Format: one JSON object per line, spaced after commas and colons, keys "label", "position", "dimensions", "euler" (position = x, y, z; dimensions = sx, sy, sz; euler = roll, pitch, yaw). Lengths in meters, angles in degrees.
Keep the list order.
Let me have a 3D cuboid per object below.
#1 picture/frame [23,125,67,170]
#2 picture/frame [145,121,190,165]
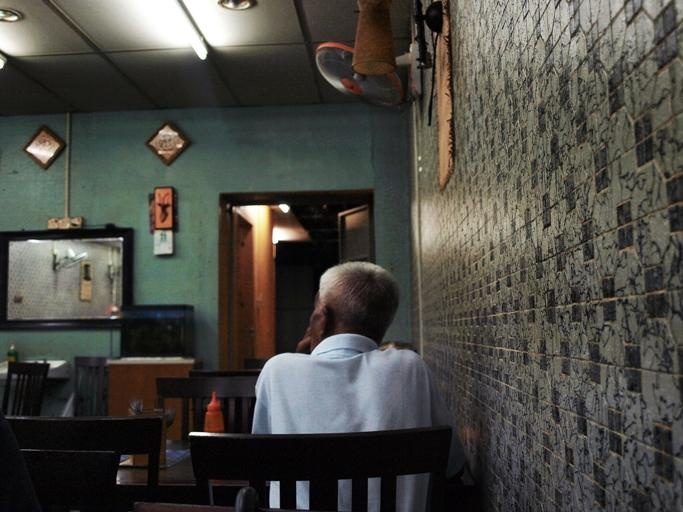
{"label": "picture/frame", "position": [-2.344, -0.850, 4.969], "dimensions": [0.241, 0.250, 0.025], "euler": [36, -1, 3]}
{"label": "picture/frame", "position": [-1.356, -0.875, 4.920], "dimensions": [0.314, 0.343, 0.052], "euler": [-1, -8, 4]}
